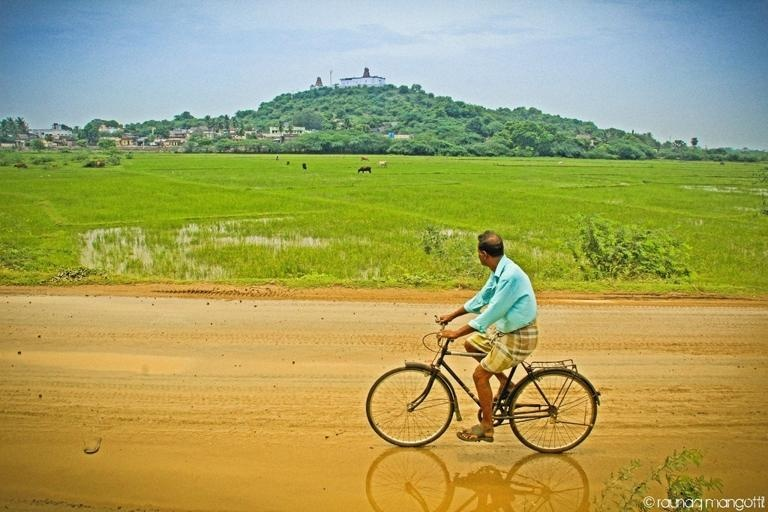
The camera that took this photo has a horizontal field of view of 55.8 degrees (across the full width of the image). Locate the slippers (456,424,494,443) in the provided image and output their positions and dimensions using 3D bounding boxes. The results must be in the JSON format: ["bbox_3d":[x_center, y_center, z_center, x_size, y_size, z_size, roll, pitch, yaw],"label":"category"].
[{"bbox_3d":[1.829,3.481,14.410,0.662,0.282,0.348,2,-6,6],"label":"slippers"}]
